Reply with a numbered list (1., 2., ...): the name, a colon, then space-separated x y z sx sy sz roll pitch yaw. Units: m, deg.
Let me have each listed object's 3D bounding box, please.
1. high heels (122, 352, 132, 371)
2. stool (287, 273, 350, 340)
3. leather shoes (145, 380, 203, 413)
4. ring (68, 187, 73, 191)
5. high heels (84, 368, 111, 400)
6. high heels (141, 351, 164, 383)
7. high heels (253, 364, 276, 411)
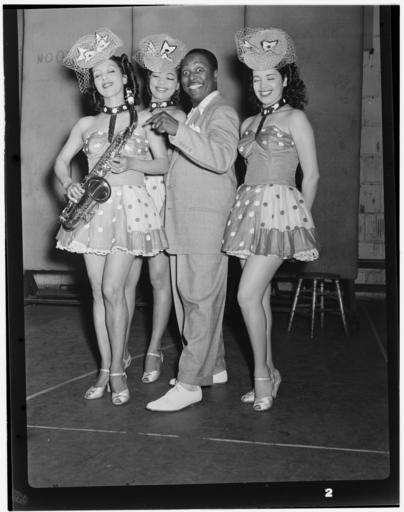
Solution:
1. high heels: -0.447 0.613 2.975 0.051 0.063 0.160 0 0 1
2. stool: 1.061 0.462 4.791 0.419 0.545 0.528 2 -4 2
3. leather shoes: -0.130 0.672 2.490 0.278 0.152 0.107 -11 23 -29
4. ring: -0.630 -0.321 2.452 0.005 0.024 0.022 29 -39 -27
5. high heels: -0.519 0.655 2.647 0.070 0.118 0.234 -1 -6 13
6. high heels: -0.288 0.650 2.944 0.062 0.227 0.095 0 -40 7
7. high heels: 0.291 0.628 2.455 0.067 0.239 0.082 0 -9 43
